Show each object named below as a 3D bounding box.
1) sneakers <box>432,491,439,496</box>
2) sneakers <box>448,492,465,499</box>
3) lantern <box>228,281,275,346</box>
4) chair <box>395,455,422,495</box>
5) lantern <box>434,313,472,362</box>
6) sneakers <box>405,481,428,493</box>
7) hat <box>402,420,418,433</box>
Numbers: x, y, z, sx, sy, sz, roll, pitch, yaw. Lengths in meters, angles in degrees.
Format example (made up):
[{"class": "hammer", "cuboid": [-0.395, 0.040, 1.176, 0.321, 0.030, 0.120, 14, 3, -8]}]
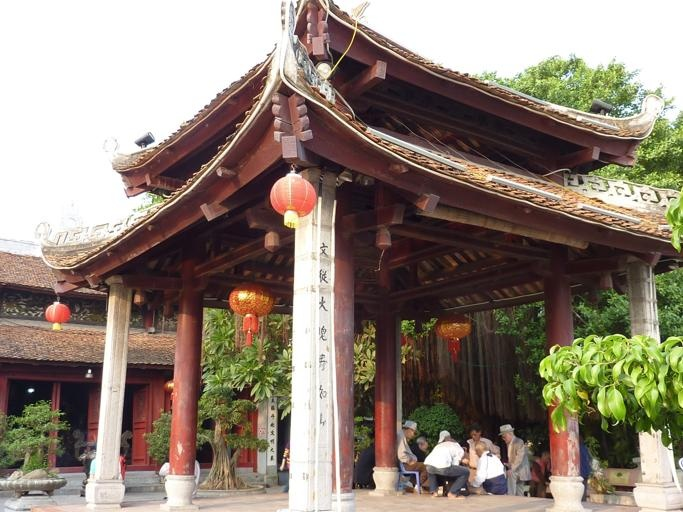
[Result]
[{"class": "sneakers", "cuboid": [1.536, 3.846, 9.824, 0.116, 0.058, 0.228, -4, -17, 5]}, {"class": "sneakers", "cuboid": [1.846, 3.795, 9.669, 0.263, 0.079, 0.447, -5, -17, 9]}, {"class": "lantern", "cuboid": [-1.301, 0.861, 8.832, 0.597, 0.923, 0.672, -2, -19, -2]}, {"class": "chair", "cuboid": [1.236, 3.887, 10.803, 0.404, 0.562, 1.131, -4, -18, 5]}, {"class": "lantern", "cuboid": [1.985, 1.410, 10.879, 0.713, 0.755, 0.664, -3, -8, -2]}, {"class": "sneakers", "cuboid": [1.342, 4.073, 10.709, 0.307, 0.204, 0.294, 19, -40, -29]}, {"class": "hat", "cuboid": [1.304, 3.162, 11.268, 0.257, 0.119, 0.220, 21, -22, -19]}]
